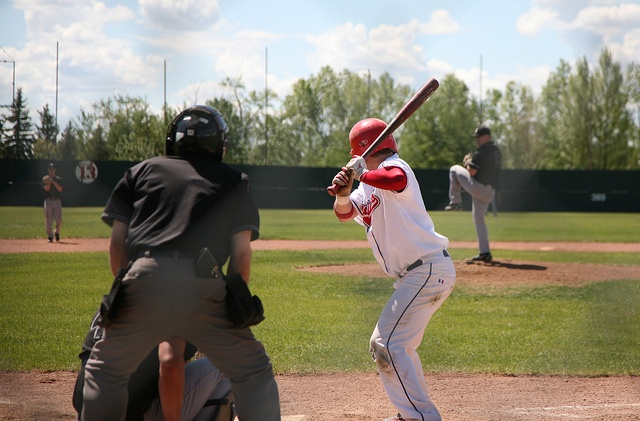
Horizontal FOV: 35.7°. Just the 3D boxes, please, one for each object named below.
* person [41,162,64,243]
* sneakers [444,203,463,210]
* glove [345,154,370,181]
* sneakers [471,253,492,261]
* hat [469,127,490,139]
[{"bbox_3d":[-9.222,-0.056,34.546,0.561,2.337,0.819,1,3,-11],"label":"person"},{"bbox_3d":[4.196,-0.103,31.179,0.564,0.276,0.216,1,3,-8],"label":"sneakers"},{"bbox_3d":[0.947,-1.058,24.679,0.441,0.453,0.575,11,-4,-35],"label":"glove"},{"bbox_3d":[4.994,1.468,30.854,0.614,0.285,0.231,3,0,5],"label":"sneakers"},{"bbox_3d":[5.013,-2.400,30.803,0.418,0.262,0.313,3,6,-4],"label":"hat"}]
